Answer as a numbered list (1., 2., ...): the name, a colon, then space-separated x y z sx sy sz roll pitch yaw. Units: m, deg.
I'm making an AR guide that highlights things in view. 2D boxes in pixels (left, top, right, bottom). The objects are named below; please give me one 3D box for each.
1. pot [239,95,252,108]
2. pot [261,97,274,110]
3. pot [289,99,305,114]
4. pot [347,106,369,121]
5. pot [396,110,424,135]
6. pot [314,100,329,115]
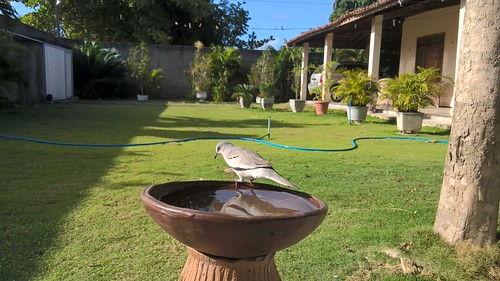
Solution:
1. pot: -0.155 -1.786 16.887 0.558 0.729 0.577 -1 18 0
2. pot: 0.752 -1.613 16.189 0.655 0.651 0.476 -1 4 -2
3. pot: 1.876 -1.312 14.813 0.664 0.611 0.506 -2 3 -17
4. pot: 3.436 -0.875 11.851 0.506 0.333 0.502 0 3 0
5. pot: 4.213 -0.551 9.738 0.650 0.507 0.570 4 16 13
6. pot: 2.654 -1.260 13.972 0.542 0.425 0.528 1 8 0
